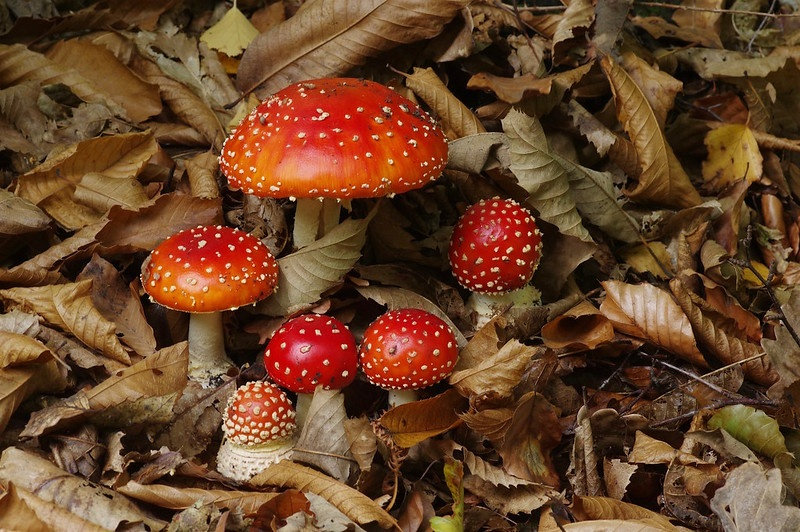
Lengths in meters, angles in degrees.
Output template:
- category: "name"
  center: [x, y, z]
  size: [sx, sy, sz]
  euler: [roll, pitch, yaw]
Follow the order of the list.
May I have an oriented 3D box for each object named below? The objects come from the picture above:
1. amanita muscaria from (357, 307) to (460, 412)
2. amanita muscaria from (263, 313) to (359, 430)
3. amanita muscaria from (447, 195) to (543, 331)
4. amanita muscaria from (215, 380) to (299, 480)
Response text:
- category: "amanita muscaria"
  center: [0.047, 0.475, 4.609]
  size: [0.543, 0.234, 0.479]
  euler: [-17, 66, -12]
- category: "amanita muscaria"
  center: [-0.515, 0.583, 4.636]
  size: [0.496, 0.647, 0.477]
  euler: [-5, 16, -42]
- category: "amanita muscaria"
  center: [0.597, -0.122, 4.965]
  size: [0.553, 0.337, 0.539]
  euler: [19, 64, 6]
- category: "amanita muscaria"
  center: [-0.822, 0.952, 4.618]
  size: [0.550, 0.508, 0.498]
  euler: [8, 79, -30]
